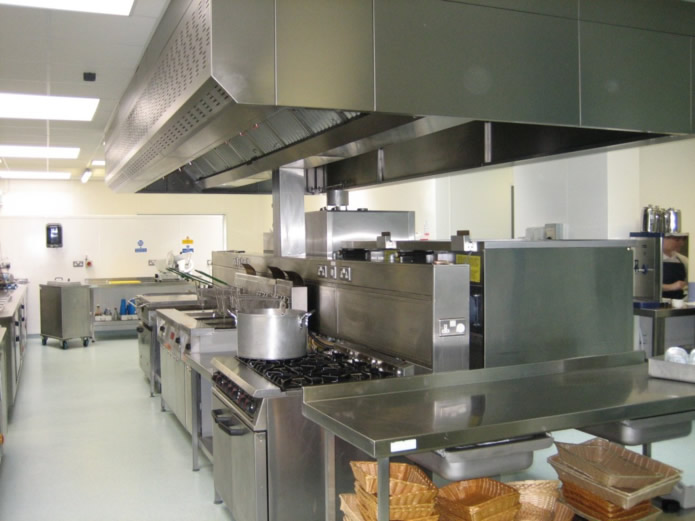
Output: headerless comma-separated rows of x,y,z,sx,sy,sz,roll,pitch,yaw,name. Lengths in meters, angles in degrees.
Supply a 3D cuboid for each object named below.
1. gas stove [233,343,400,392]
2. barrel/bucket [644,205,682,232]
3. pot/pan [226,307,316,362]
-0.182,0.625,3.305,0.639,0.079,0.932,-4,5,-28,gas stove
3.425,-0.448,6.146,0.411,0.283,0.143,1,-3,-29,barrel/bucket
-0.442,0.459,3.426,0.474,0.218,0.312,-1,-5,12,pot/pan
